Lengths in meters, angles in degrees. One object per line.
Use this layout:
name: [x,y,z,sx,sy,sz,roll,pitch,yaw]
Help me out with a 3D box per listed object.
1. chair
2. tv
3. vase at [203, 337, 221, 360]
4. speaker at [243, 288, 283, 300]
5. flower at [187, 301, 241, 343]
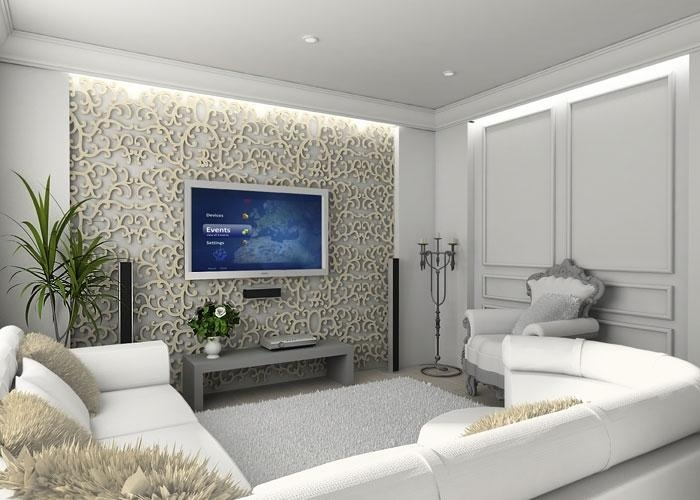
chair: [1.557,0.656,3.898,0.834,1.380,1.187,6,-6,-18]
tv: [-1.028,-0.200,4.735,1.086,0.673,0.074,-1,1,-30]
vase: [-1.282,0.936,4.411,0.202,0.201,0.153,6,-7,-39]
speaker: [-0.912,0.466,4.836,0.419,0.130,0.067,-4,8,-30]
flower: [-1.318,0.655,4.413,0.414,0.327,0.392,-7,14,-38]
